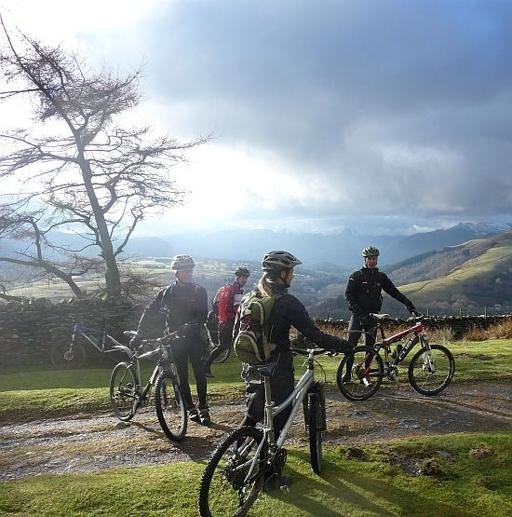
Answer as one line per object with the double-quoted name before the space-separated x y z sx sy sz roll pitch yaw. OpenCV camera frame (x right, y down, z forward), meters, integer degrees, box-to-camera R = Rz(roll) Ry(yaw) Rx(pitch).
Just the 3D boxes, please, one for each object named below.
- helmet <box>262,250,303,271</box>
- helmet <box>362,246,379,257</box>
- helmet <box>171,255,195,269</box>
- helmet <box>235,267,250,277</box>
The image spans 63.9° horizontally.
"helmet" 0.278 0.023 4.702 0.389 0.141 0.236 -5 3 -6
"helmet" 2.408 -0.151 8.627 0.307 0.245 0.693 -1 -3 14
"helmet" -1.233 0.057 6.833 0.373 0.169 0.264 -1 4 6
"helmet" -0.349 0.338 10.782 0.304 0.243 0.243 1 2 -32
